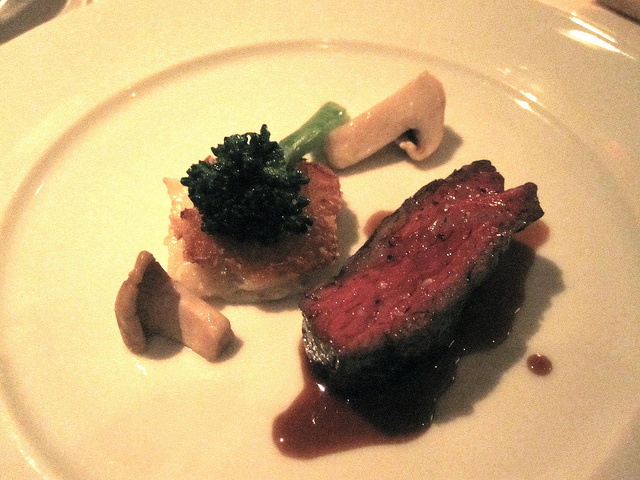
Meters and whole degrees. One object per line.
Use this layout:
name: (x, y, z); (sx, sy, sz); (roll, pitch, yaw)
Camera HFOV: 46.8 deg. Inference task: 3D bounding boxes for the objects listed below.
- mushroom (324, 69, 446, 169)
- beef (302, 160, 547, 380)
mushroom: (0.472, -0.711, 4.937); (0.799, 0.361, 0.553); (-29, 71, 8)
beef: (0.664, 0.170, 4.469); (0.788, 0.398, 1.886); (31, 57, 30)
